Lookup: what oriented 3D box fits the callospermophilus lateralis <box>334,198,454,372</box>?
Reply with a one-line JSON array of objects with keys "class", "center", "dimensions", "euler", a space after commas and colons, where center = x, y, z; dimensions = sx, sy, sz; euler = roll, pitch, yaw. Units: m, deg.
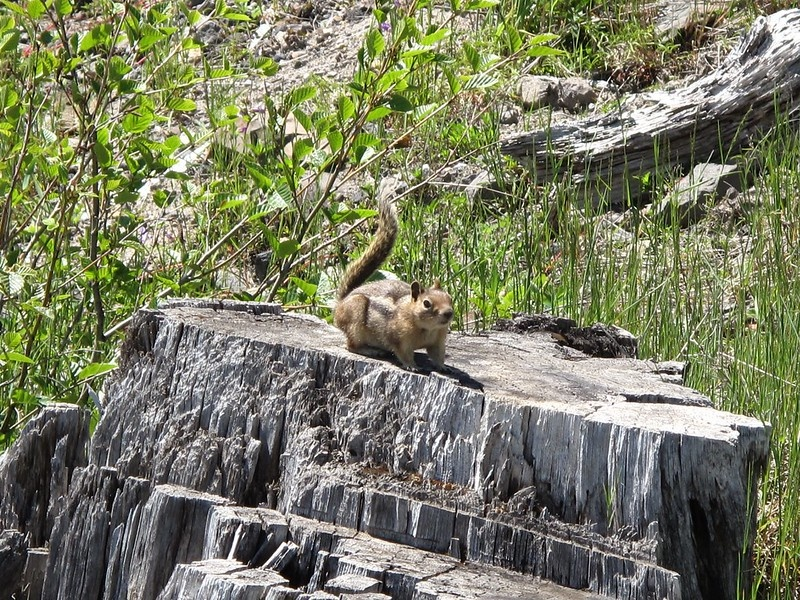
[{"class": "callospermophilus lateralis", "center": [-0.013, -0.095, 6.867], "dimensions": [0.860, 1.069, 0.469], "euler": [1, -4, 40]}]
